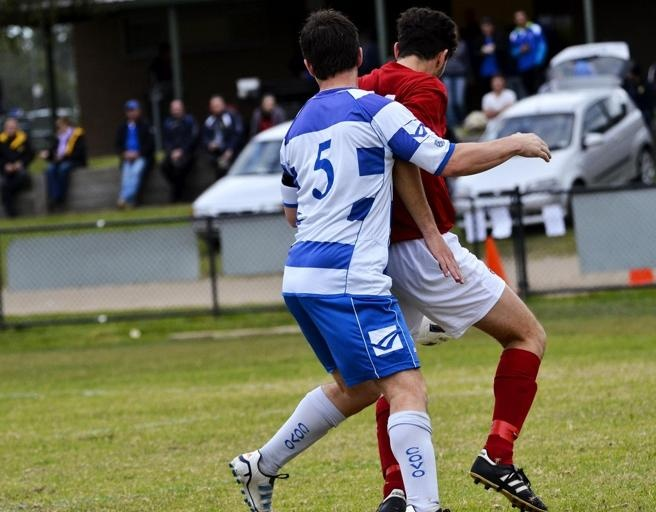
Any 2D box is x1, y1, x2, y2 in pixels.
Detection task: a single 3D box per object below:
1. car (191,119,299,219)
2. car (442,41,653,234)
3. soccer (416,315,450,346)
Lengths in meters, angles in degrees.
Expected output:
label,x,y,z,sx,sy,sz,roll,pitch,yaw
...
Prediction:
label,x,y,z,sx,sy,sz,roll,pitch,yaw
car,-1.015,-1.097,16.057,0.815,0.759,2.064,0,4,15
car,2.721,-1.513,16.258,1.707,2.188,3.107,-2,5,40
soccer,0.632,0.462,7.909,0.140,0.201,0.179,5,1,45
